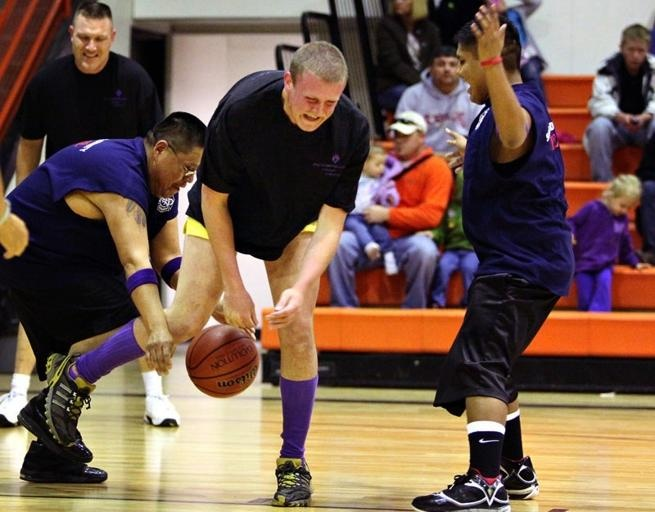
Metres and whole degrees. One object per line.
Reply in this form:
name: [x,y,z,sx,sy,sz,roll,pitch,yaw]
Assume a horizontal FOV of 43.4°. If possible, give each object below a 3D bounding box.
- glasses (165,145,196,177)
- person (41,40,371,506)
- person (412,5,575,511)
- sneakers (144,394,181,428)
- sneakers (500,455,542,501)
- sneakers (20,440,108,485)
glasses: [-0.565,-0.364,3.184,0.099,0.130,0.122,2,-36,-31]
person: [-0.210,0.083,3.049,0.799,1.633,0.486,1,1,37]
person: [0.621,0.026,2.971,0.566,1.786,0.378,0,1,3]
sneakers: [-0.838,0.795,4.191,0.096,0.114,0.234,4,-7,-32]
sneakers: [0.724,0.841,3.106,0.089,0.116,0.247,-4,1,4]
sneakers: [-1.049,0.827,3.313,0.373,0.222,0.146,3,-4,-7]
